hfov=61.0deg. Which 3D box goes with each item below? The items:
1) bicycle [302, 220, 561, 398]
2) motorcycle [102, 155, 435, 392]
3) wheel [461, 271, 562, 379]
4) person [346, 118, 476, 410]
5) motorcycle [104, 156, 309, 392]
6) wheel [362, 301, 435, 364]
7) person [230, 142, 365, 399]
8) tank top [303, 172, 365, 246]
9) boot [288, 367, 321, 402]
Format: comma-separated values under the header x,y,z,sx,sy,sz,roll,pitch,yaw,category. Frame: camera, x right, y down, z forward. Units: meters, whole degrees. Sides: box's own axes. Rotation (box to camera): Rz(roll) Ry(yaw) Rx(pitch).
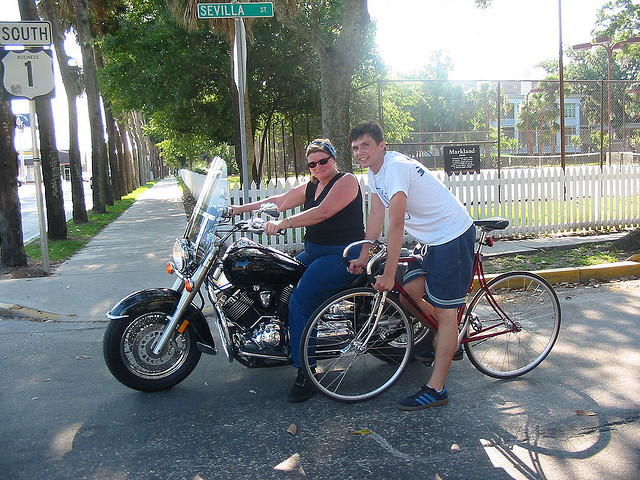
x,y,z,sx,sy,sz,roll,pitch,yaw,category
1.033,0.553,4.869,2.403,1.614,1.080,-5,7,-11,bicycle
-0.351,0.328,4.900,3.028,2.050,1.147,-4,15,-12,motorcycle
1.802,0.751,5.238,1.202,0.997,0.647,-10,13,-37,wheel
0.786,0.189,4.575,0.981,2.375,0.661,1,10,16,person
-0.516,0.316,5.097,2.793,1.902,1.268,-5,9,-23,motorcycle
0.686,0.791,4.730,0.419,0.478,0.094,31,26,-13,wheel
-0.198,0.159,5.027,1.176,2.098,1.070,3,12,21,person
0.154,-0.329,5.030,0.580,0.745,0.627,-3,5,-31,tank top
-0.141,1.276,4.802,0.143,0.315,0.414,-4,3,28,boot
